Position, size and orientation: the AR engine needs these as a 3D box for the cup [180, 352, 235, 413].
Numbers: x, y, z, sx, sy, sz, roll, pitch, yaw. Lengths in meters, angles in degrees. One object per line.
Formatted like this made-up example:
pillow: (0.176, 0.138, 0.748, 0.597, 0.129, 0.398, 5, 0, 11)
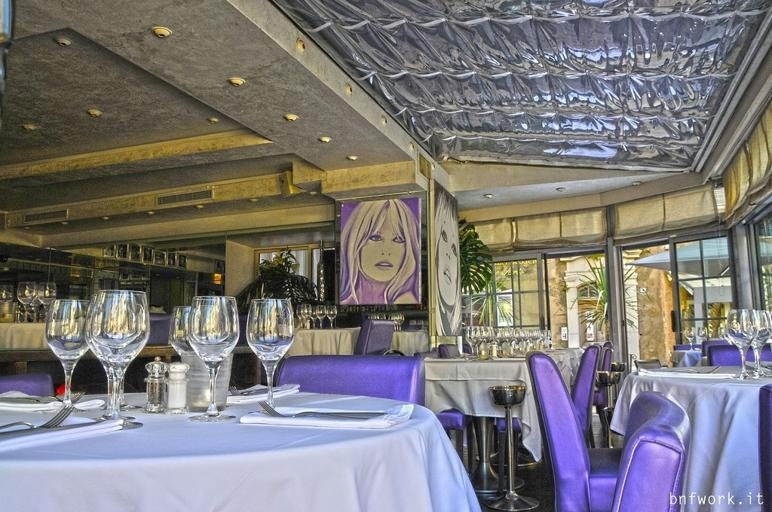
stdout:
cup: (-0.597, 0.422, 2.033, 0.170, 0.199, 0.183, 0, -10, 0)
